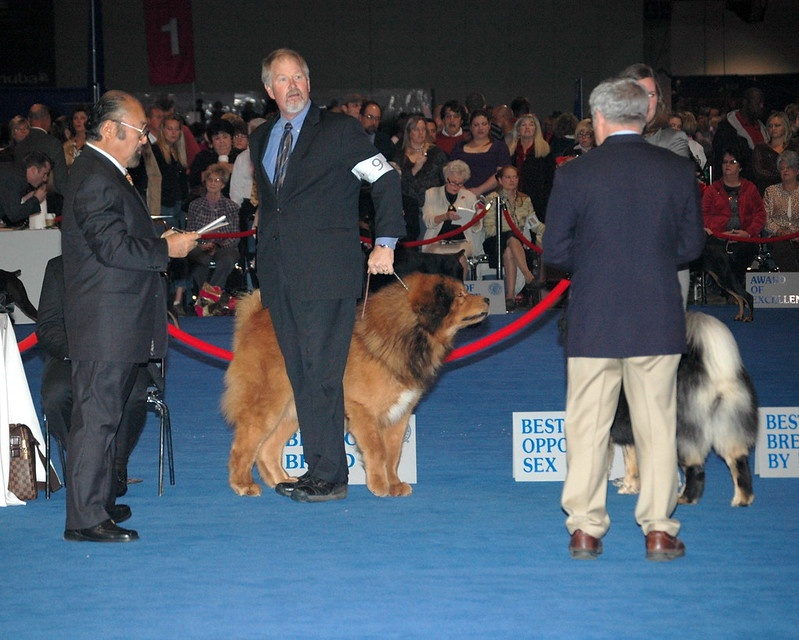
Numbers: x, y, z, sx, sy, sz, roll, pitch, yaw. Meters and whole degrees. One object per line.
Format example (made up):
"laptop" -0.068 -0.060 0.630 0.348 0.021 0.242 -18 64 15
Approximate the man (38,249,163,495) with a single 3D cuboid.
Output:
"man" -1.818 0.238 6.674 0.728 1.781 0.516 1 27 -11

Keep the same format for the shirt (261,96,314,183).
"shirt" -0.694 -1.041 6.334 0.322 0.462 0.124 -1 0 9

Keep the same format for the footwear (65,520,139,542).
"footwear" -1.593 1.126 5.829 0.355 0.160 0.145 -2 -2 2

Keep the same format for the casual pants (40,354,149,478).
"casual pants" -1.866 0.666 6.548 0.584 0.785 0.309 6 -17 -7

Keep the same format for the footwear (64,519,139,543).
"footwear" -1.571 1.118 5.771 0.358 0.162 0.146 -2 -1 2

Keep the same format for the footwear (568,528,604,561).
"footwear" 0.934 1.141 5.475 0.113 0.129 0.171 1 -9 3

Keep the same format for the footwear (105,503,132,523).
"footwear" -1.556 1.064 6.044 0.146 0.065 0.062 1 9 25

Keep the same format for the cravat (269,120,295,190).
"cravat" -0.681 -0.969 6.349 0.113 0.494 0.035 2 -29 6

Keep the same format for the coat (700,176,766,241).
"coat" 4.050 -1.409 13.264 0.759 0.732 0.478 1 13 15

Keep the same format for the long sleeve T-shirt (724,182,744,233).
"long sleeve T-shirt" 4.060 -1.328 13.232 0.171 0.473 0.326 -3 8 -36

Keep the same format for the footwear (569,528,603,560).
"footwear" 0.932 1.137 5.479 0.113 0.129 0.171 1 -8 1

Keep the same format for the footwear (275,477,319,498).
"footwear" -0.614 0.973 6.390 0.277 0.120 0.103 4 2 5

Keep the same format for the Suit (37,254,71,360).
"Suit" -2.118 -0.179 6.649 0.164 0.537 0.194 3 20 -9
